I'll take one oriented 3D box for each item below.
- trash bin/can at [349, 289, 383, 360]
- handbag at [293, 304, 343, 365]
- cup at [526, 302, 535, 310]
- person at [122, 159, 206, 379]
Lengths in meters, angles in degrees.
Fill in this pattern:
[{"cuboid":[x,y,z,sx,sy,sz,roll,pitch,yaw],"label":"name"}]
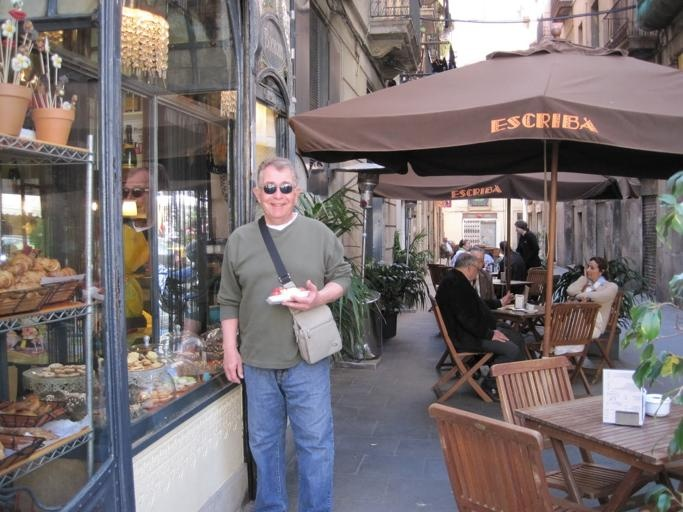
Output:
[{"cuboid":[0.405,0.930,8.920,0.732,0.903,0.782,0,1,-4],"label":"trash bin/can"},{"cuboid":[-0.154,0.490,4.188,0.352,0.379,0.138,-1,4,-36],"label":"handbag"},{"cuboid":[2.402,0.642,8.558,0.076,0.086,0.109,-2,-6,20],"label":"cup"},{"cuboid":[-1.115,0.057,4.278,0.227,1.273,1.013,2,4,10],"label":"person"}]
